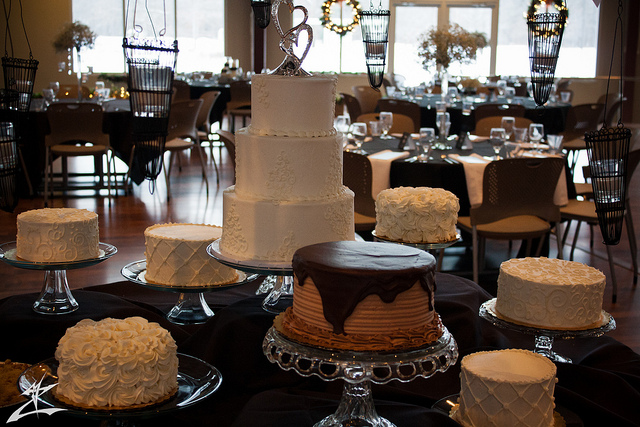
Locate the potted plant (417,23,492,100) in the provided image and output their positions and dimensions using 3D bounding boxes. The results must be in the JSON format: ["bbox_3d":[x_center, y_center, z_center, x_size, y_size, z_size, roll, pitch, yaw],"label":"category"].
[{"bbox_3d":[1.275,-1.444,5.421,0.634,0.704,1.322,3,12,14],"label":"potted plant"}]

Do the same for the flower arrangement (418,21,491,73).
[{"bbox_3d":[1.207,-1.448,5.076,0.458,0.348,0.511,-11,42,-6],"label":"flower arrangement"}]

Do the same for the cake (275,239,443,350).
[{"bbox_3d":[0.145,0.286,2.068,0.613,0.284,0.353,2,11,8],"label":"cake"}]

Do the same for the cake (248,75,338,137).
[{"bbox_3d":[-0.121,-0.514,2.653,0.416,0.279,0.440,2,13,6],"label":"cake"}]

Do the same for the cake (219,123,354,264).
[{"bbox_3d":[-0.134,-0.089,2.646,0.565,0.524,0.584,0,5,-5],"label":"cake"}]

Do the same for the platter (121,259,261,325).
[{"bbox_3d":[-0.695,0.455,3.058,0.744,0.302,0.800,-5,-10,12],"label":"platter"}]

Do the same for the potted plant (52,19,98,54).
[{"bbox_3d":[-3.228,-2.332,7.540,0.488,0.466,0.742,-11,16,-44],"label":"potted plant"}]

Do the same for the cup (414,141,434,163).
[{"bbox_3d":[0.812,-0.489,4.420,0.159,0.198,0.181,-2,12,-3],"label":"cup"}]

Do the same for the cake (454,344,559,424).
[{"bbox_3d":[0.667,0.624,2.016,0.329,0.213,0.239,1,11,4],"label":"cake"}]

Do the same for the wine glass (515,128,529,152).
[{"bbox_3d":[1.604,-0.580,4.489,0.091,0.170,0.239,4,12,18],"label":"wine glass"}]

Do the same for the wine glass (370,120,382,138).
[{"bbox_3d":[0.524,-0.778,5.256,0.081,0.151,0.183,6,13,30],"label":"wine glass"}]

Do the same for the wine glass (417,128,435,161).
[{"bbox_3d":[0.853,-0.520,4.429,0.131,0.214,0.121,-1,-17,23],"label":"wine glass"}]

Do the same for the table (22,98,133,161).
[{"bbox_3d":[-2.600,-0.885,6.049,0.867,0.453,0.893,-3,14,-11],"label":"table"}]

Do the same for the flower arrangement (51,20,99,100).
[{"bbox_3d":[-3.213,-2.035,7.459,0.571,1.046,1.469,-5,12,-24],"label":"flower arrangement"}]

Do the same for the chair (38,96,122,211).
[{"bbox_3d":[-2.712,-0.727,6.344,0.722,1.141,0.799,-7,20,-29],"label":"chair"}]

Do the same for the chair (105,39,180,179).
[{"bbox_3d":[-0.634,-0.454,2.128,0.201,0.340,0.176,3,-11,-17],"label":"chair"}]

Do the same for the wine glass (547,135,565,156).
[{"bbox_3d":[1.900,-0.552,4.543,0.101,0.146,0.172,4,12,22],"label":"wine glass"}]

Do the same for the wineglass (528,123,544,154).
[{"bbox_3d":[1.799,-0.627,4.697,0.116,0.221,0.527,4,12,20],"label":"wineglass"}]

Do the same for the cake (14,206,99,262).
[{"bbox_3d":[-1.339,0.097,2.896,0.363,0.197,0.381,7,12,17],"label":"cake"}]

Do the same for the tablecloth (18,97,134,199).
[{"bbox_3d":[-2.667,-0.712,6.190,0.927,0.652,1.213,1,17,-2],"label":"tablecloth"}]

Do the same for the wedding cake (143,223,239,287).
[{"bbox_3d":[-0.681,0.133,2.883,0.391,0.216,0.404,21,26,30],"label":"wedding cake"}]

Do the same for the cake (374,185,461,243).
[{"bbox_3d":[0.495,-0.006,2.974,0.309,0.163,0.325,0,8,0],"label":"cake"}]

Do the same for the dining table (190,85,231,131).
[{"bbox_3d":[-1.617,-1.677,9.119,0.466,0.577,0.494,-14,32,-14],"label":"dining table"}]

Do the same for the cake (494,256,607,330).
[{"bbox_3d":[1.001,0.392,2.437,0.314,0.155,0.327,11,-4,19],"label":"cake"}]

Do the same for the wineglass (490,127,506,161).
[{"bbox_3d":[1.435,-0.561,4.530,0.126,0.257,0.122,9,21,30],"label":"wineglass"}]

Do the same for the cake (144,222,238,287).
[{"bbox_3d":[-0.689,0.213,2.899,0.417,0.230,0.410,0,6,-41],"label":"cake"}]

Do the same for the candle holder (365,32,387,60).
[{"bbox_3d":[0.278,-0.812,2.780,0.122,0.143,0.122,0,6,8],"label":"candle holder"}]

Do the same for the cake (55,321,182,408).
[{"bbox_3d":[-0.778,0.532,2.148,0.378,0.171,0.378,4,3,24],"label":"cake"}]
